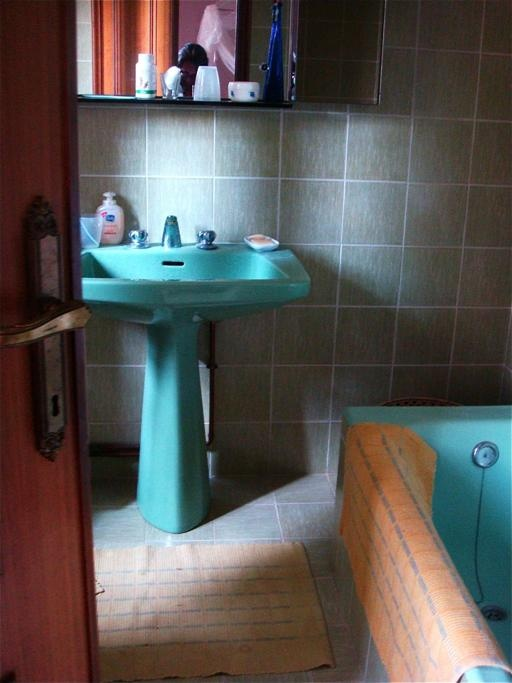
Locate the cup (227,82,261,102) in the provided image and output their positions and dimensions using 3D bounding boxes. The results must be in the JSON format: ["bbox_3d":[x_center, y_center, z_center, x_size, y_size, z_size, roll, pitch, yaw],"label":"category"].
[{"bbox_3d":[-0.034,-0.750,1.786,0.068,0.043,0.072,1,24,-1],"label":"cup"}]

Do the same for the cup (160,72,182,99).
[{"bbox_3d":[-0.258,-0.784,1.813,0.062,0.084,0.048,13,36,12],"label":"cup"}]

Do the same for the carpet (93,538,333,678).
[{"bbox_3d":[-0.137,0.706,1.599,0.620,0.070,0.459,-2,14,-5],"label":"carpet"}]

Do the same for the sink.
[{"bbox_3d":[-0.163,-0.163,1.707,0.632,0.196,0.524,-4,14,-16],"label":"sink"}]

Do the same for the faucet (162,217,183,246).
[{"bbox_3d":[-0.256,-0.351,1.893,0.056,0.096,0.140,3,14,12],"label":"faucet"}]

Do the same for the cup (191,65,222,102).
[{"bbox_3d":[-0.145,-0.773,1.787,0.091,0.104,0.103,19,29,32],"label":"cup"}]
